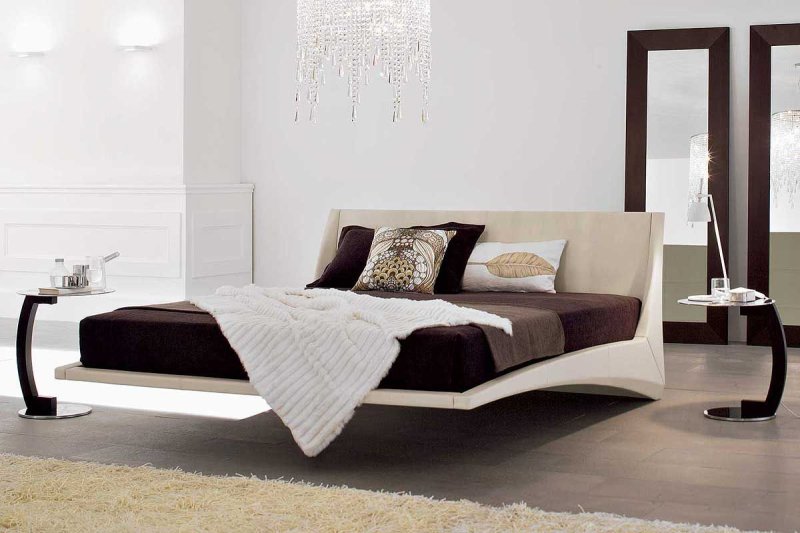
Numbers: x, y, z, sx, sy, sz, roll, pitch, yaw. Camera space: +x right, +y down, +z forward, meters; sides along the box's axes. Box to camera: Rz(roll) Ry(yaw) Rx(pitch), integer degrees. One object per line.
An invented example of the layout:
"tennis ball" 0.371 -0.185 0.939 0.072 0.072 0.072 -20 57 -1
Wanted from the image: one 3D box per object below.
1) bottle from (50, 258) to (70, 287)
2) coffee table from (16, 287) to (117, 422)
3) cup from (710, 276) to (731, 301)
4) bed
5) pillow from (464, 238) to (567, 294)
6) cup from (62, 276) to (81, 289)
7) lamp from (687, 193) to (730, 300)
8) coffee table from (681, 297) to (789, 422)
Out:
"bottle" -2.099 0.043 4.177 0.112 0.162 0.214 -4 7 -32
"coffee table" -2.016 0.485 4.035 0.536 0.758 0.497 -1 2 9
"cup" 1.923 0.140 4.067 0.120 0.082 0.227 -1 1 20
"bed" 0.168 0.259 4.398 2.587 1.220 2.570 4 7 36
"pillow" 0.862 0.008 4.949 0.782 0.214 0.820 -20 20 -40
"cup" -2.012 0.095 4.145 0.077 0.049 0.078 1 6 0
"lamp" 2.006 -0.116 4.348 0.155 0.660 0.129 -3 -2 23
"coffee table" 1.978 0.534 4.206 0.722 0.826 0.588 2 1 23
